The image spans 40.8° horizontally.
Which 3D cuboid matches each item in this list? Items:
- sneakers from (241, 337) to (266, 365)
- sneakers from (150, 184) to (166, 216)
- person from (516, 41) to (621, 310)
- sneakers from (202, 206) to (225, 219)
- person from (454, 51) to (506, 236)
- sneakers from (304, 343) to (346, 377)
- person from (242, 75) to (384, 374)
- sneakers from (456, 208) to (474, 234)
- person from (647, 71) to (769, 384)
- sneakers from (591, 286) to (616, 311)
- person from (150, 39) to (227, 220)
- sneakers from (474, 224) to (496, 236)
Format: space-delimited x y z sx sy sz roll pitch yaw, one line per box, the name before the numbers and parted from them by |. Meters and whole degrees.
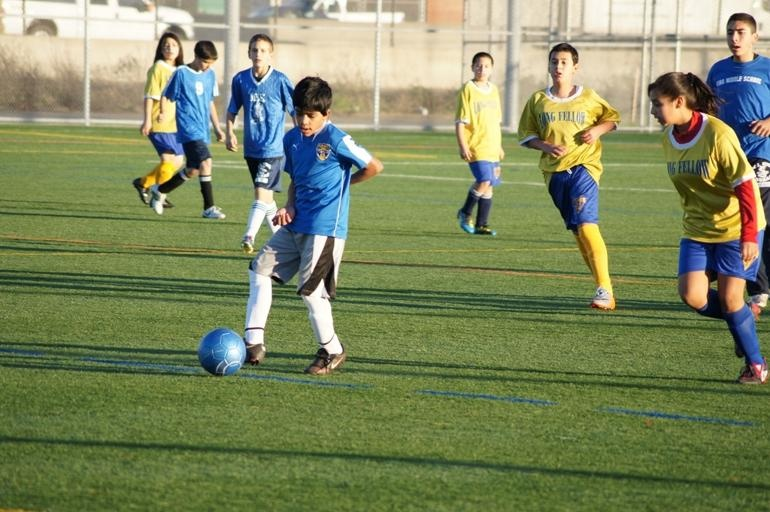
sneakers | -0.924 0.682 7.384 0.212 0.243 0.140 2 -8 -8
sneakers | -2.773 -0.692 12.628 0.148 0.409 0.194 -12 18 -21
person | 1.656 -0.768 9.272 0.933 2.275 1.017 3 8 8
sneakers | -2.074 -0.528 12.625 0.328 0.132 0.121 3 8 28
person | 1.118 -1.347 12.324 0.550 2.121 0.712 2 8 5
sneakers | -0.407 0.727 7.343 0.353 0.150 0.122 -14 14 -42
person | -0.517 -0.235 7.381 0.935 2.062 0.616 0 8 -9
sneakers | 0.983 -0.412 12.282 0.127 0.340 0.158 -32 20 -37
person | 2.315 -0.207 7.331 0.890 2.143 0.471 7 9 31
sneakers | 1.868 0.381 8.854 0.117 0.122 0.298 0 -6 21
person | -2.334 -1.509 12.394 0.864 2.125 0.998 0 8 -10
sneakers | 1.192 -0.317 12.237 0.252 0.118 0.307 2 9 4
